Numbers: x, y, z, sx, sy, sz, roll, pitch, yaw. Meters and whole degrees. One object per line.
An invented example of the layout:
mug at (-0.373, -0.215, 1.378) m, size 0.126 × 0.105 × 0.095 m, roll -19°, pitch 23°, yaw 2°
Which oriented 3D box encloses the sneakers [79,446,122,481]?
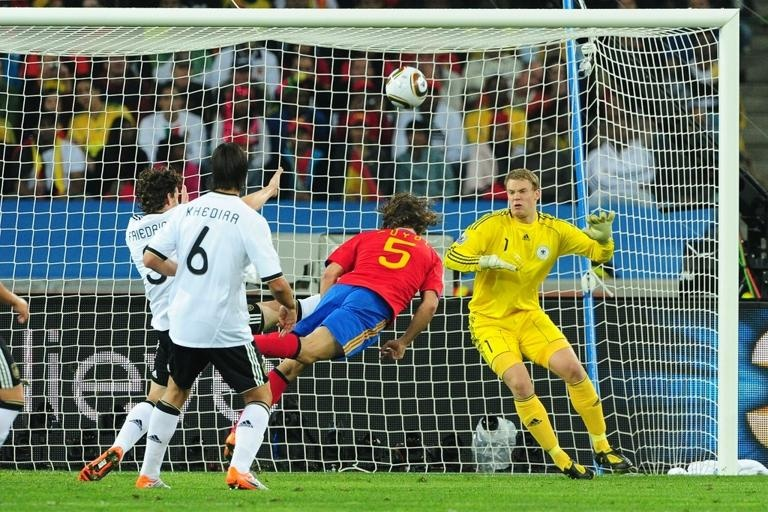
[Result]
sneakers at (-2.351, 1.761, 8.302) m, size 0.421 × 0.198 × 0.179 m, roll -30°, pitch -25°, yaw 0°

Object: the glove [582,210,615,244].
glove at (1.926, -0.284, 8.874) m, size 0.245 × 0.337 × 0.431 m, roll 0°, pitch -9°, yaw 11°

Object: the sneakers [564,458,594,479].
sneakers at (1.704, 1.907, 8.671) m, size 0.246 × 0.131 × 0.102 m, roll 12°, pitch -41°, yaw 27°

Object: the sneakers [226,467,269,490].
sneakers at (-1.137, 1.814, 7.963) m, size 0.389 × 0.166 × 0.135 m, roll 18°, pitch 0°, yaw -12°

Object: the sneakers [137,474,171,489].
sneakers at (-1.917, 1.857, 8.062) m, size 0.314 × 0.123 × 0.110 m, roll 5°, pitch 0°, yaw -20°

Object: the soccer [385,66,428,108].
soccer at (0.209, -1.716, 10.019) m, size 0.419 × 0.393 × 0.410 m, roll -1°, pitch 6°, yaw -30°

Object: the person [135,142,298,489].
person at (-1.395, 0.495, 7.918) m, size 1.198 × 2.774 × 0.524 m, roll 0°, pitch -9°, yaw 16°
